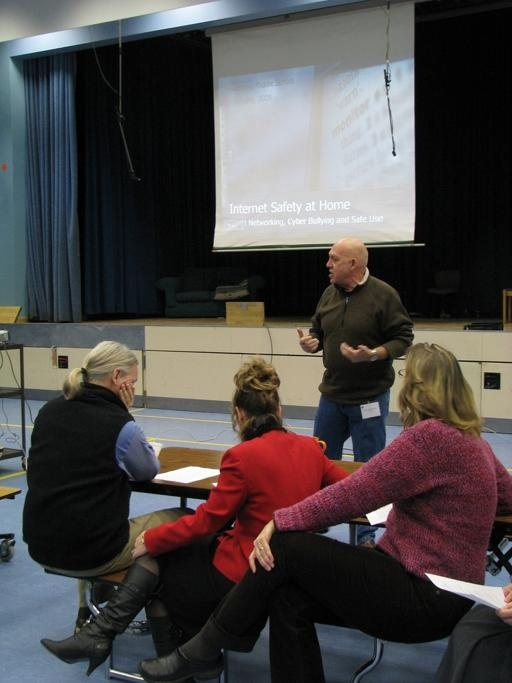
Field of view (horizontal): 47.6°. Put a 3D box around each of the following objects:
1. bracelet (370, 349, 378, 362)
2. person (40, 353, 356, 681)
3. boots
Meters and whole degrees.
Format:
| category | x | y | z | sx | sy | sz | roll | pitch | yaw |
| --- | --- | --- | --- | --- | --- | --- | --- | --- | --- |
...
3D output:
| category | x | y | z | sx | sy | sz | roll | pitch | yaw |
| --- | --- | --- | --- | --- | --- | --- | --- | --- | --- |
| bracelet | 0.484 | 0.063 | 2.409 | 0.035 | 0.055 | 0.055 | 2 | 5 | 2 |
| person | -0.095 | 0.499 | 1.611 | 0.717 | 0.825 | 0.473 | 8 | -4 | 16 |
| boots | -0.409 | 0.693 | 1.506 | 0.185 | 0.327 | 0.076 | 34 | 15 | -9 |
